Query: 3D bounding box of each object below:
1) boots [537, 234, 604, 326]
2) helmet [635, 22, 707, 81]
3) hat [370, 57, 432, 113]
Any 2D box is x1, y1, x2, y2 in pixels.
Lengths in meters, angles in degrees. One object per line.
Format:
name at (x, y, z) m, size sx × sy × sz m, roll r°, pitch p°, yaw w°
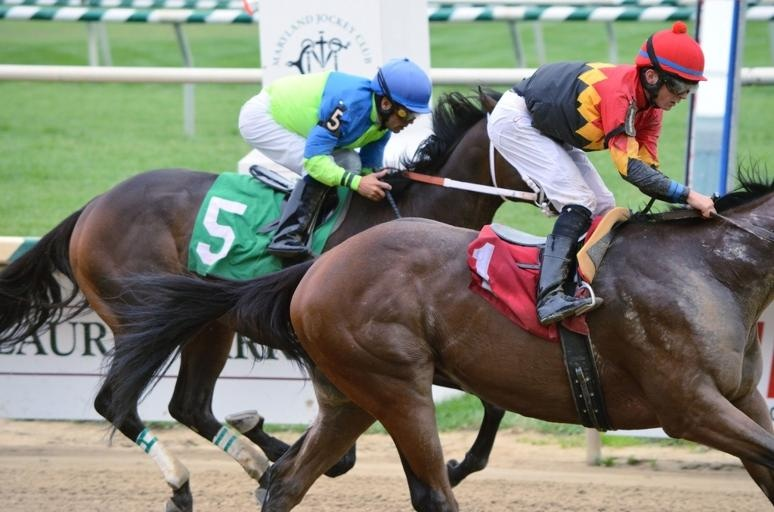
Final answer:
boots at (0.826, 0.112, 5.147) m, size 0.289 × 0.380 × 0.307 m, roll -5°, pitch 13°, yaw -20°
helmet at (1.406, -1.032, 5.277) m, size 0.316 × 0.231 × 0.400 m, roll -12°, pitch 30°, yaw -40°
hat at (0.095, -0.938, 5.868) m, size 0.341 × 0.190 × 0.246 m, roll 26°, pitch 19°, yaw 8°
